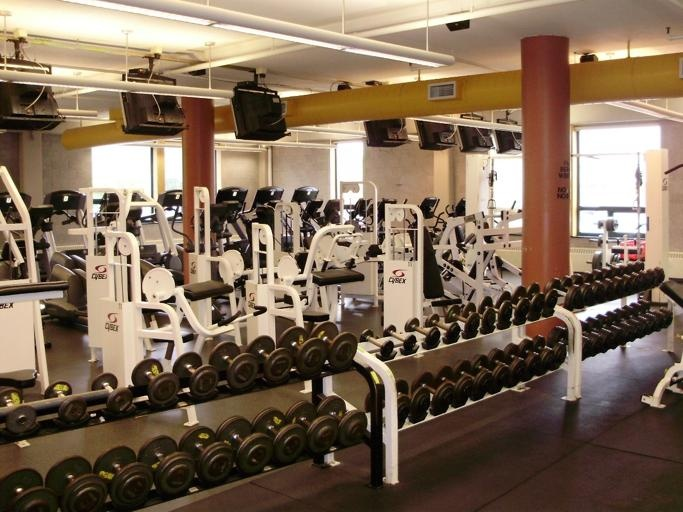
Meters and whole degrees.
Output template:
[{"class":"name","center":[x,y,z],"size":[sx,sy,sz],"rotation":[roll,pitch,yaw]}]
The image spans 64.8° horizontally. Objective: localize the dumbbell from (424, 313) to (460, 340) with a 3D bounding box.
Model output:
[{"class":"dumbbell","center":[0.647,0.454,3.558],"size":[0.122,0.148,0.277],"rotation":[-8,8,-14]}]

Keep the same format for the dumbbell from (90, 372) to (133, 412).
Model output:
[{"class":"dumbbell","center":[-0.997,0.587,2.332],"size":[0.111,0.102,0.247],"rotation":[-8,15,-40]}]

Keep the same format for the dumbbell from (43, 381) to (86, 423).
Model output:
[{"class":"dumbbell","center":[-1.167,0.596,2.267],"size":[0.115,0.108,0.364],"rotation":[-7,10,-39]}]

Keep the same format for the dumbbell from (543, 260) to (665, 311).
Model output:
[{"class":"dumbbell","center":[2.366,0.253,4.606],"size":[0.608,0.443,1.044],"rotation":[0,5,8]}]

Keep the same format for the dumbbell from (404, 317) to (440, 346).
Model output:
[{"class":"dumbbell","center":[0.509,0.482,3.467],"size":[0.120,0.133,0.258],"rotation":[-1,8,-28]}]
